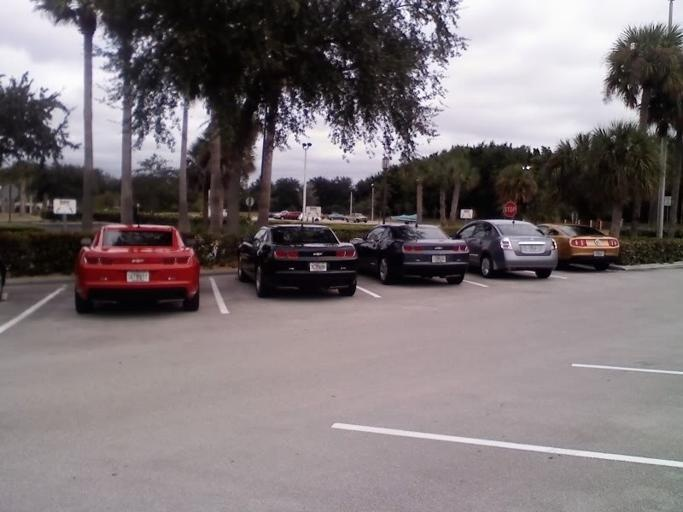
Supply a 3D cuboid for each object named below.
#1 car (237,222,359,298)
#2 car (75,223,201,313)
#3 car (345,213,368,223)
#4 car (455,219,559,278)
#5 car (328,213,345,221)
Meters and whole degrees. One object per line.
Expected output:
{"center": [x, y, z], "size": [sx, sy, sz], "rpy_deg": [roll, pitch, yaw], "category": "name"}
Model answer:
{"center": [-1.303, 0.119, 13.409], "size": [1.972, 1.800, 3.318], "rpy_deg": [-5, 5, -44], "category": "car"}
{"center": [-3.949, 0.200, 10.202], "size": [1.258, 1.070, 2.613], "rpy_deg": [0, -2, -13], "category": "car"}
{"center": [2.462, -6.812, 98.047], "size": [1.909, 1.520, 3.818], "rpy_deg": [-2, 2, -31], "category": "car"}
{"center": [5.307, -0.087, 17.746], "size": [1.582, 1.550, 3.955], "rpy_deg": [0, 7, -8], "category": "car"}
{"center": [-0.738, -8.067, 105.492], "size": [1.820, 1.595, 3.066], "rpy_deg": [1, 0, 24], "category": "car"}
